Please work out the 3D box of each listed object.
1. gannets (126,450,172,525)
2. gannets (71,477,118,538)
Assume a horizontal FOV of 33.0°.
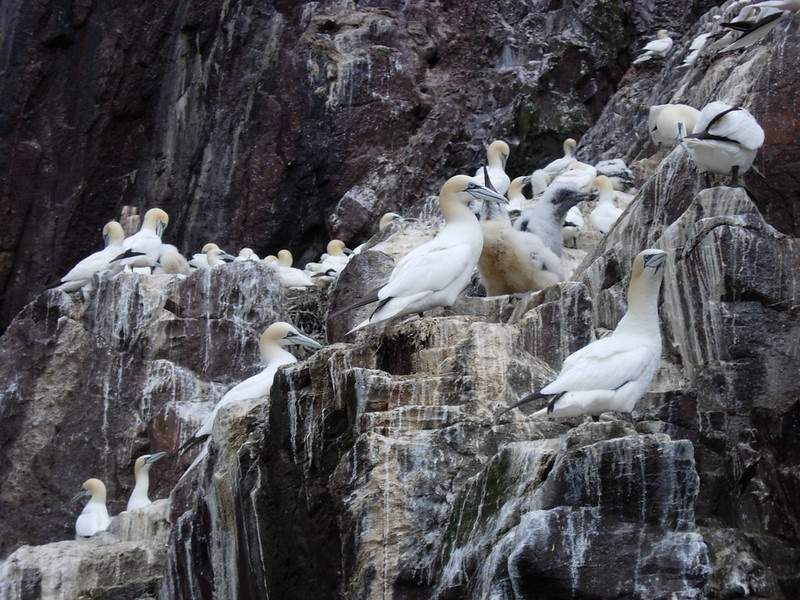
[{"bbox_3d":[-4.006,2.875,21.370,0.567,0.901,1.210,3,-11,-10],"label":"gannets"},{"bbox_3d":[-4.815,3.265,21.067,0.587,0.947,2.335,4,-11,-13],"label":"gannets"}]
